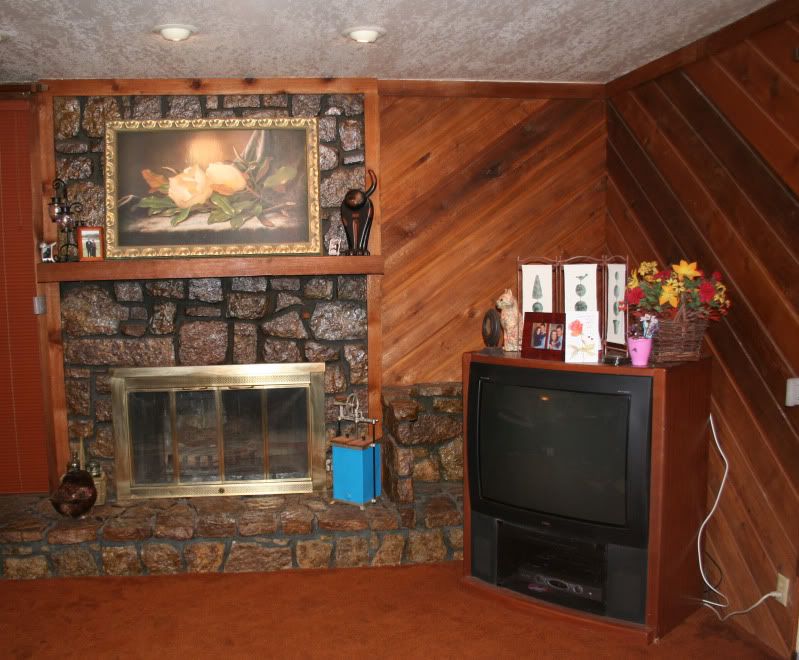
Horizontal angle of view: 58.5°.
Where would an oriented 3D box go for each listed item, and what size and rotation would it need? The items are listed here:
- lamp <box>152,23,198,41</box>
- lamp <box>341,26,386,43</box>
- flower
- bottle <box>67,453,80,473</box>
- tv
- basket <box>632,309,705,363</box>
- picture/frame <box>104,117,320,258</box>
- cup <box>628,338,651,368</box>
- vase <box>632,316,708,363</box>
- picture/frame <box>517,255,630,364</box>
[{"bbox_3d":[-1.014,-1.360,3.246,0.168,0.049,0.199,-4,14,-13],"label":"lamp"},{"bbox_3d":[-0.161,-1.375,3.298,0.186,0.043,0.162,-2,14,-2],"label":"lamp"},{"bbox_3d":[1.207,-0.174,3.143,0.369,0.202,0.343,2,4,4],"label":"flower"},{"bbox_3d":[-1.732,0.701,3.800,0.066,0.082,0.086,-8,16,-25],"label":"bottle"},{"bbox_3d":[0.587,0.607,3.320,0.935,0.691,0.496,12,-24,-16],"label":"tv"},{"bbox_3d":[1.164,0.027,3.226,0.385,0.211,0.337,4,-4,3],"label":"basket"},{"bbox_3d":[-1.089,-0.803,3.948,0.904,0.533,0.040,-1,-5,-2],"label":"picture/frame"},{"bbox_3d":[1.019,0.088,3.043,0.121,0.119,0.116,0,-1,0],"label":"cup"},{"bbox_3d":[1.306,0.041,3.171,0.293,0.174,0.340,2,-2,-21],"label":"vase"},{"bbox_3d":[0.805,-0.087,3.263,0.533,0.440,0.165,3,-11,-4],"label":"picture/frame"}]
